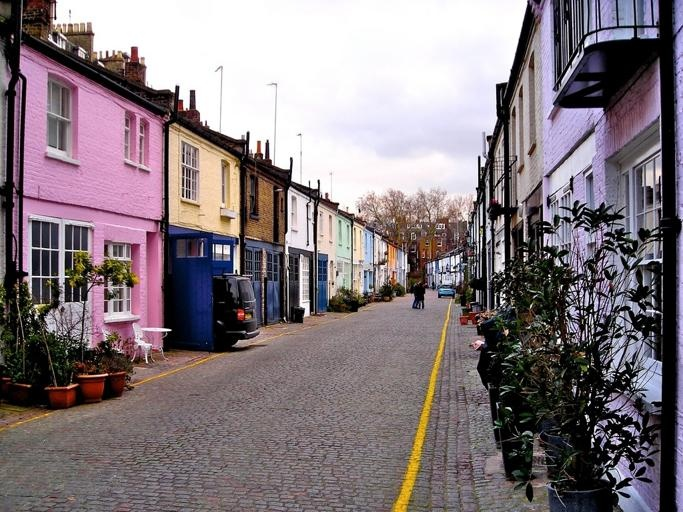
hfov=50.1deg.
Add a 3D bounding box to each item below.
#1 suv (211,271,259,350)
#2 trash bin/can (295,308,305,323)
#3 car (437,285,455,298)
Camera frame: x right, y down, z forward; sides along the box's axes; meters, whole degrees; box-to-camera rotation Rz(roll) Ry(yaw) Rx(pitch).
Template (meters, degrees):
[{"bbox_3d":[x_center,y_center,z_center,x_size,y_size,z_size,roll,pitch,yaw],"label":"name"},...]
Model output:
[{"bbox_3d":[-2.961,1.536,19.756,0.951,2.077,1.188,0,1,20],"label":"suv"},{"bbox_3d":[-1.697,2.506,30.776,0.493,0.728,0.484,0,0,-28],"label":"trash bin/can"},{"bbox_3d":[9.634,3.258,66.792,0.884,0.806,2.149,0,3,11],"label":"car"}]
